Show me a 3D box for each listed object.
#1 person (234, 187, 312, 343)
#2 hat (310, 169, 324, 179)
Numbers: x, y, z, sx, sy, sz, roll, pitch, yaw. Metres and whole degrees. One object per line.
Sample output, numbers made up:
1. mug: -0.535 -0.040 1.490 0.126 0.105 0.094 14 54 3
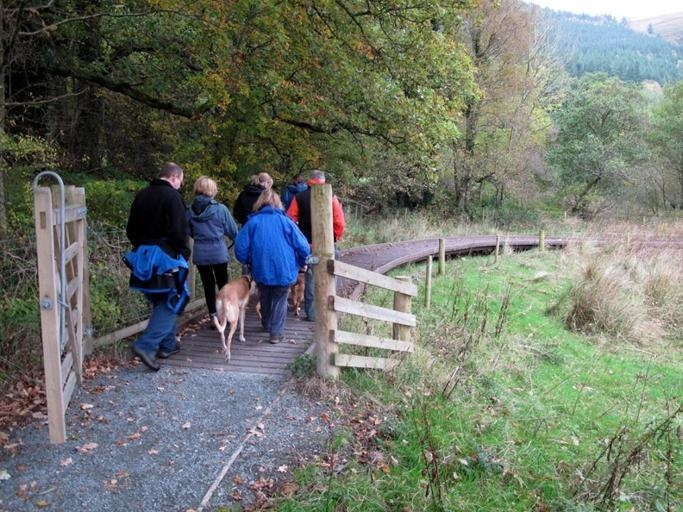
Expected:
1. person: -1.073 0.186 9.198 1.140 2.402 0.500 3 9 -4
2. hat: -0.396 -1.366 9.822 0.176 0.228 0.161 -1 14 -28
